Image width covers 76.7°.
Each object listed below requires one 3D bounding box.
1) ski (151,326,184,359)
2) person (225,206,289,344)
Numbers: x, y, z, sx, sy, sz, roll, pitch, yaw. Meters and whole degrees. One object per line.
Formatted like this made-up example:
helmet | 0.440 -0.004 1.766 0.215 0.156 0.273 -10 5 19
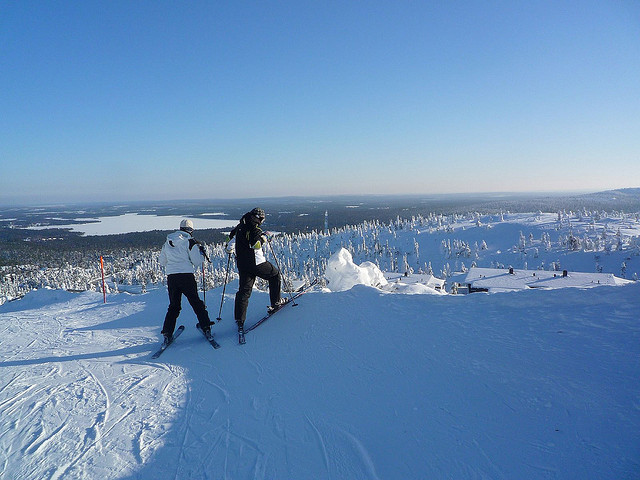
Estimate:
ski | -3.608 2.437 9.606 0.125 0.099 1.129 1 22 13
person | -1.618 0.782 10.185 1.263 3.225 1.101 2 -1 -36
